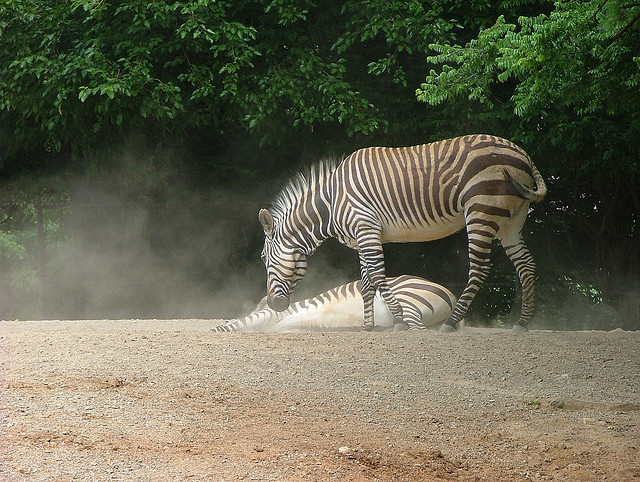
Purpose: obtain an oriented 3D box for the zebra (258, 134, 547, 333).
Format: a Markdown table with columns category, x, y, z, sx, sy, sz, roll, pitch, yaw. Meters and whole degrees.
| category | x | y | z | sx | sy | sz | roll | pitch | yaw |
| --- | --- | --- | --- | --- | --- | --- | --- | --- | --- |
| zebra | 1.099 | 0.020 | 14.954 | 4.114 | 2.926 | 1.141 | -8 | -5 | 13 |
